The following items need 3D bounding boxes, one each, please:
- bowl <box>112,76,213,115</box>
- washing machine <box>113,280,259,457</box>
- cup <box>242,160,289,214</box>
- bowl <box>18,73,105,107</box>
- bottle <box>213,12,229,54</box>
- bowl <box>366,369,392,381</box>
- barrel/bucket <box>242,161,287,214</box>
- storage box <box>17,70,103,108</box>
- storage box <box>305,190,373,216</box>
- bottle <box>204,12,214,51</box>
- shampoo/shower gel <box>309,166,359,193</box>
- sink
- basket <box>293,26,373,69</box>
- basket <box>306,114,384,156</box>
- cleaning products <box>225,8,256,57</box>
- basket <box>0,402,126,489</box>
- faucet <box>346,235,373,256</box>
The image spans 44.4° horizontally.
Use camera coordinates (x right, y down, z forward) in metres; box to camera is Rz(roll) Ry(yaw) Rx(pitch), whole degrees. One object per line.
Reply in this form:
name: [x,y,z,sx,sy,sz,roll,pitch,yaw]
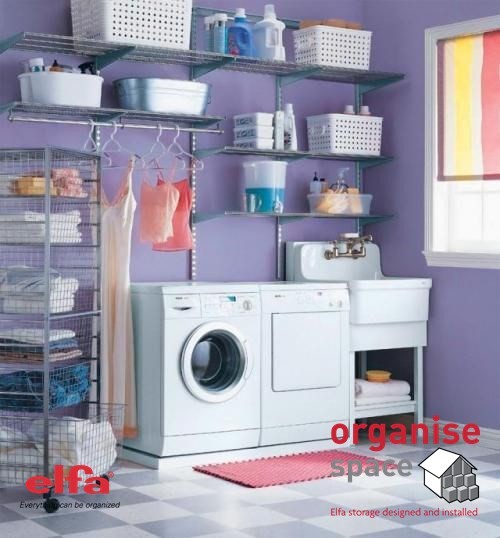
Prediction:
bowl: [-0.439,-0.892,3.217,0.457,0.177,0.125,-2,6,-15]
washing machine: [-0.299,0.519,3.455,0.862,1.104,0.819,0,-1,-37]
cup: [0.100,-0.492,3.745,0.324,0.297,0.300,0,-1,0]
bowl: [-0.898,-0.808,2.935,0.292,0.097,0.217,-1,2,-25]
bottle: [-0.160,-1.273,3.333,0.066,0.215,0.058,-1,6,-4]
bowl: [0.777,0.662,3.768,0.110,0.033,0.100,-3,-4,33]
barrel/bucket: [0.115,-0.481,3.747,0.327,0.298,0.295,0,-1,17]
storage box: [-0.895,-0.818,2.926,0.298,0.095,0.220,0,1,-21]
storage box: [0.586,-0.408,3.936,0.295,0.086,0.187,-1,-1,-8]
bottle: [-0.216,-1.283,3.366,0.038,0.199,0.093,-6,8,-41]
shampoo/shower gel: [0.535,-0.580,4.058,0.310,0.243,0.181,-3,6,-18]
sink: [0.842,0.196,3.623,0.607,0.287,0.110,-5,7,-34]
basket: [0.522,-1.338,3.726,0.433,0.209,0.322,-1,2,-36]
basket: [0.623,-0.844,3.987,0.445,0.209,0.282,0,2,-25]
cleaning products: [-0.058,-1.309,3.428,0.142,0.294,0.143,-1,6,-2]
basket: [-0.777,0.738,2.555,0.400,0.276,0.513,2,-3,-33]
faucet: [0.715,-0.140,3.993,0.163,0.161,0.479,0,6,11]
